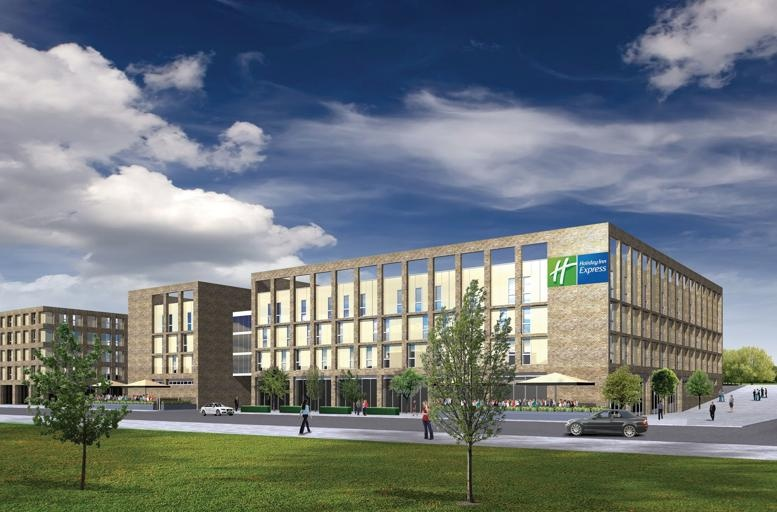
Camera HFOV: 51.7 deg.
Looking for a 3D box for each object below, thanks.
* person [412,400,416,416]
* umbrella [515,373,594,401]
[{"bbox_3d":[2.530,15.062,81.130,0.497,1.130,0.930,-1,-11,-2],"label":"person"},{"bbox_3d":[12.957,10.102,64.977,4.882,1.616,5.407,-5,-6,24],"label":"umbrella"}]
